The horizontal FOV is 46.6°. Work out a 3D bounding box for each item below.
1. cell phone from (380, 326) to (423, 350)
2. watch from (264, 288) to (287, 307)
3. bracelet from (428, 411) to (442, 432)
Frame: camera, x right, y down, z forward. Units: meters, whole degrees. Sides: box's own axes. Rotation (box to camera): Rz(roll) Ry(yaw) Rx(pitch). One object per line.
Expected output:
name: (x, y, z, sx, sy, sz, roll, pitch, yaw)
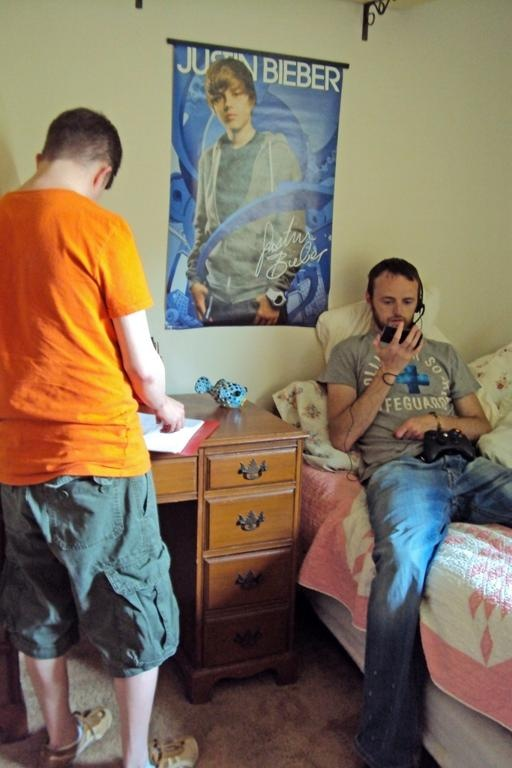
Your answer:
cell phone: (0.448, -0.143, 1.865, 0.124, 0.066, 0.030, 5, 19, -22)
watch: (0.066, -0.291, 2.006, 0.066, 0.054, 0.067, 22, 1, -21)
bracelet: (0.534, 0.116, 1.790, 0.017, 0.046, 0.039, -6, 5, 1)
